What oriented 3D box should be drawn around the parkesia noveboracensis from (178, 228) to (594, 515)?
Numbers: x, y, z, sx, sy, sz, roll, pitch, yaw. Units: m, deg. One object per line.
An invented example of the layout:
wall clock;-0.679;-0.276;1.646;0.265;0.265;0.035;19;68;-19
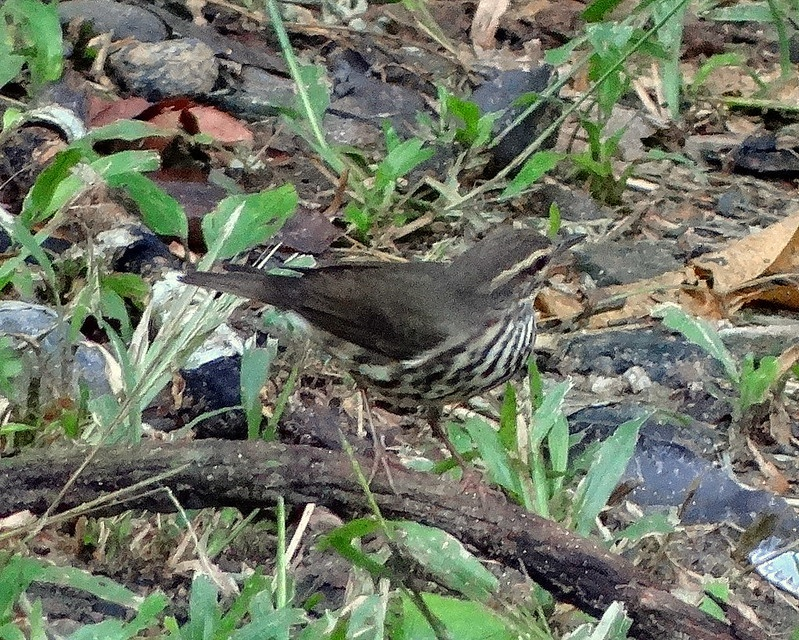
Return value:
parkesia noveboracensis;0.037;0.024;2.917;1.162;0.524;0.470;-4;52;-7
